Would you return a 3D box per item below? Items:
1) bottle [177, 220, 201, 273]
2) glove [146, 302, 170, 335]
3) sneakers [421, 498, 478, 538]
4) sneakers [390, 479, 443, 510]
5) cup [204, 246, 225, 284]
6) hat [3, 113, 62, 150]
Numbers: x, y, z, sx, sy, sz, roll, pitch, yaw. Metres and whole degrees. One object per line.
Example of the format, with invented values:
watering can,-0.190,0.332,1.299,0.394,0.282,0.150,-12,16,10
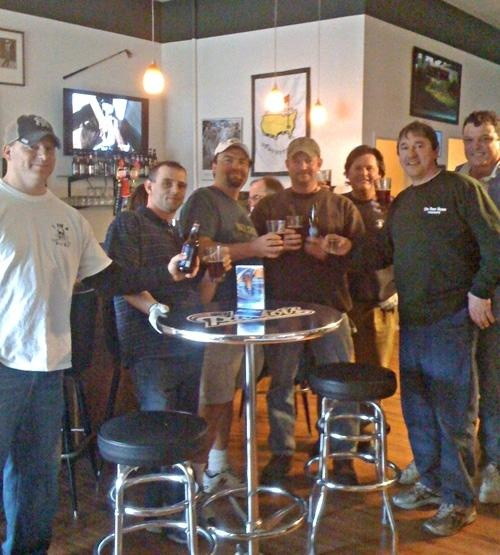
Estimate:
bottle,-0.236,-0.114,2.124,0.078,0.193,0.213,-1,3,-6
glove,-0.340,0.146,2.008,0.040,0.108,0.082,-5,-23,-47
sneakers,0.828,0.994,2.308,0.250,0.104,0.088,3,-11,-34
sneakers,0.740,0.979,2.512,0.220,0.116,0.091,1,-2,-1
cup,-0.132,-0.052,2.076,0.069,0.129,0.089,-1,3,-5
hat,-0.733,-0.482,1.860,0.171,0.087,0.118,4,11,30
